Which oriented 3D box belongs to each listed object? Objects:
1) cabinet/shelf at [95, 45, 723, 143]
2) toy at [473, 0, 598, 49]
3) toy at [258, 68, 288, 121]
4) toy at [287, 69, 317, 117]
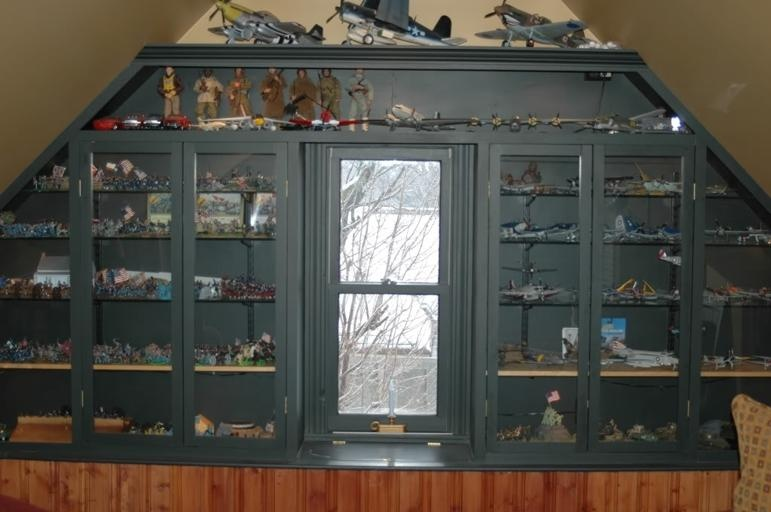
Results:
[{"bbox_3d":[0.002,-1.077,8.290,5.089,0.761,0.860,0,-20,0],"label":"cabinet/shelf"},{"bbox_3d":[1.177,-1.713,7.715,0.519,0.218,0.515,15,-5,-24],"label":"toy"},{"bbox_3d":[-0.884,-1.278,7.953,0.203,0.500,0.121,-8,-22,-4],"label":"toy"},{"bbox_3d":[-0.646,-1.257,7.986,0.197,0.422,0.098,-4,-13,-2],"label":"toy"}]
